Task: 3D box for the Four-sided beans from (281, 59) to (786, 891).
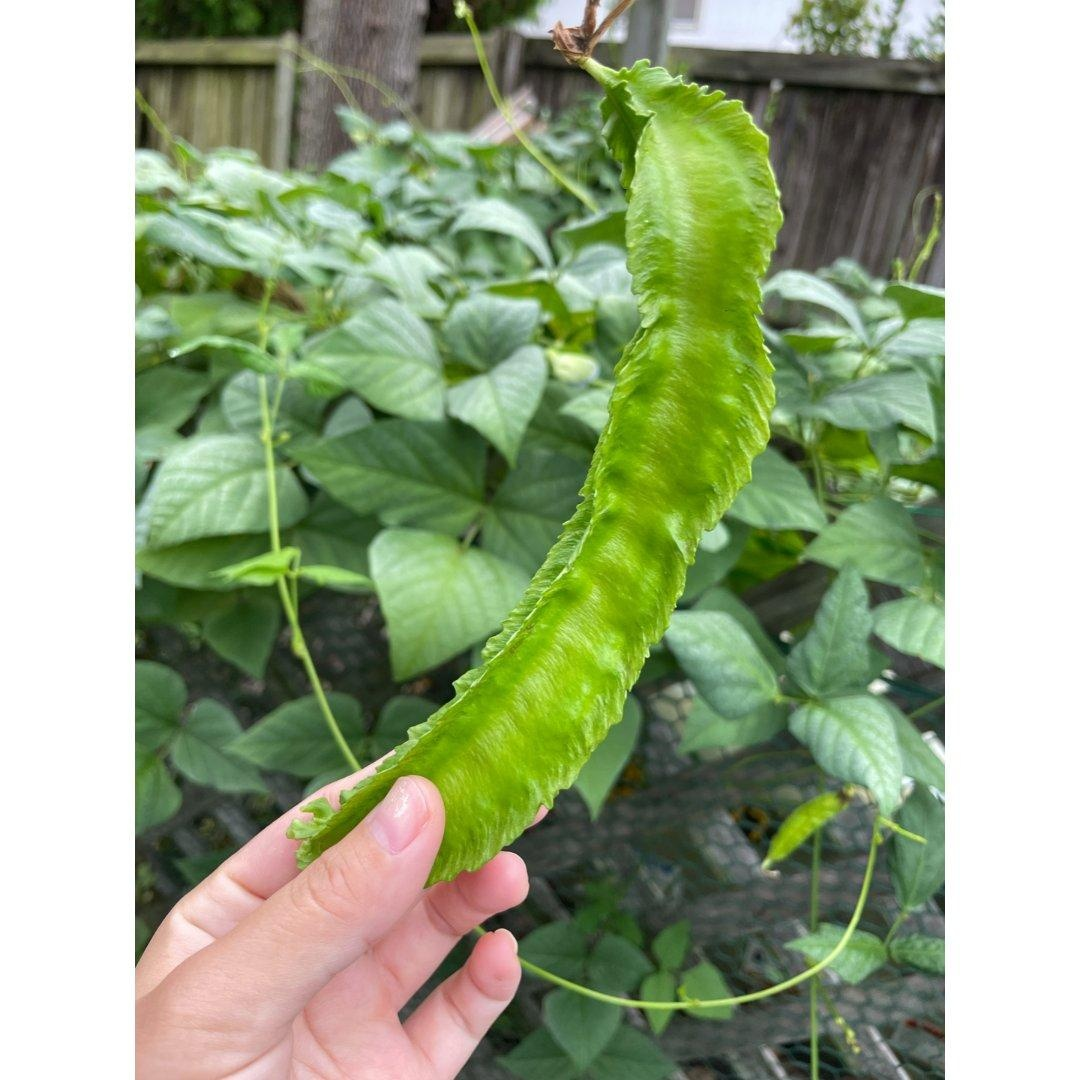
[{"bbox_3d":[0.020,-0.028,0.494,0.128,0.406,0.109,31,-1,-38],"label":"Four-sided beans"}]
